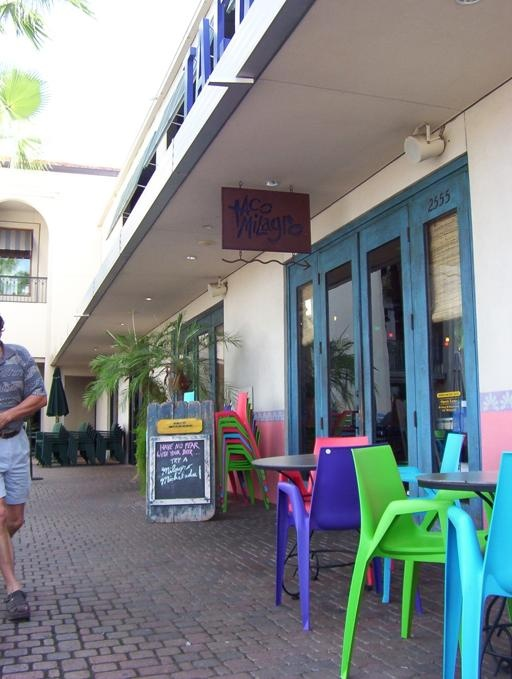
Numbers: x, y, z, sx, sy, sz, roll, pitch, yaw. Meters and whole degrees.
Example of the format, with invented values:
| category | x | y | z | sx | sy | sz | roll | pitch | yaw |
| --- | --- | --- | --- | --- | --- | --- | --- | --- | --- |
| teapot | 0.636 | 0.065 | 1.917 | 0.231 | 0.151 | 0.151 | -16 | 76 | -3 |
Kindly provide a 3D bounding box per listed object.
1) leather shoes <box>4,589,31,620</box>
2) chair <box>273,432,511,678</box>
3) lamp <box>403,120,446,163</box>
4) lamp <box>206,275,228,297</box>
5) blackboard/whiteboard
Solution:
| category | x | y | z | sx | sy | sz | roll | pitch | yaw |
| --- | --- | --- | --- | --- | --- | --- | --- | --- | --- |
| leather shoes | -1.080 | 1.221 | 2.271 | 0.066 | 0.092 | 0.190 | 0 | -8 | -19 |
| chair | 0.516 | 0.790 | 1.929 | 0.847 | 0.787 | 1.026 | -1 | -3 | 1 |
| lamp | 1.309 | -1.533 | 3.915 | 0.288 | 0.301 | 0.204 | 1 | -3 | -20 |
| lamp | -0.673 | -0.860 | 8.571 | 0.261 | 0.360 | 0.263 | 8 | -27 | -35 |
| blackboard/whiteboard | -0.830 | 1.479 | 5.359 | 0.678 | 0.828 | 0.057 | 0 | -18 | -6 |
